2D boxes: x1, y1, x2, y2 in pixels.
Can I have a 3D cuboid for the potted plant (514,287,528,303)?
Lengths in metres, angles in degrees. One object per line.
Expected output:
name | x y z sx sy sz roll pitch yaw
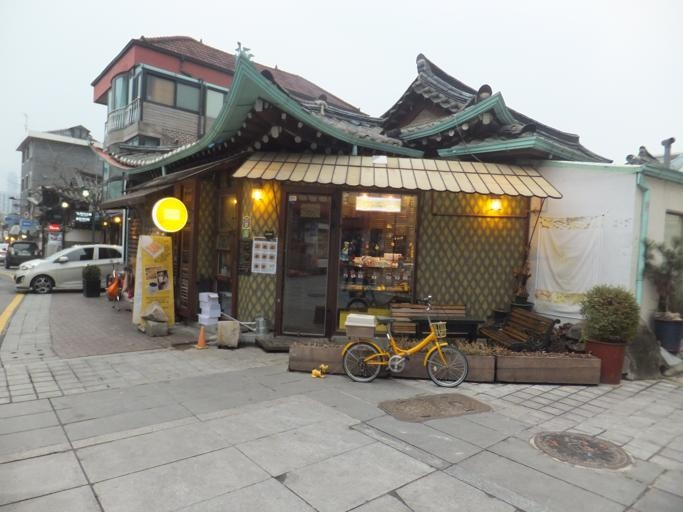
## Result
potted plant | 4.269 0.974 13.021 0.320 0.238 0.320 0 -3 4

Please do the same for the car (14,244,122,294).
car | -9.820 0.457 19.937 3.315 1.454 1.902 2 -2 -26

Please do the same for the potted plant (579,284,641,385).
potted plant | 5.301 1.587 10.916 1.025 1.892 0.439 4 6 24

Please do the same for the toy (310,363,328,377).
toy | -0.421 2.241 10.680 0.215 0.195 0.252 5 -9 -42

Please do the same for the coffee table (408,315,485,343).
coffee table | 2.501 1.631 12.312 0.896 0.549 0.901 -1 -6 8

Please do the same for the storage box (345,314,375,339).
storage box | 0.372 1.324 10.736 0.643 0.428 0.426 1 -9 1

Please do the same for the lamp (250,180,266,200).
lamp | -1.964 -1.486 12.918 0.342 0.452 0.083 4 6 24

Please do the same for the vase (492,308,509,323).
vase | 3.790 1.434 13.119 0.296 0.216 0.296 1 -5 2

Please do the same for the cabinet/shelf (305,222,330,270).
cabinet/shelf | -0.541 -0.208 12.843 0.485 1.037 0.135 1 5 -5

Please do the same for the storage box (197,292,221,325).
storage box | -3.366 1.347 13.911 0.664 0.802 0.456 5 6 28

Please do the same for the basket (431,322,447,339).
basket | 1.856 1.408 10.495 0.278 0.343 0.320 1 -5 -29
